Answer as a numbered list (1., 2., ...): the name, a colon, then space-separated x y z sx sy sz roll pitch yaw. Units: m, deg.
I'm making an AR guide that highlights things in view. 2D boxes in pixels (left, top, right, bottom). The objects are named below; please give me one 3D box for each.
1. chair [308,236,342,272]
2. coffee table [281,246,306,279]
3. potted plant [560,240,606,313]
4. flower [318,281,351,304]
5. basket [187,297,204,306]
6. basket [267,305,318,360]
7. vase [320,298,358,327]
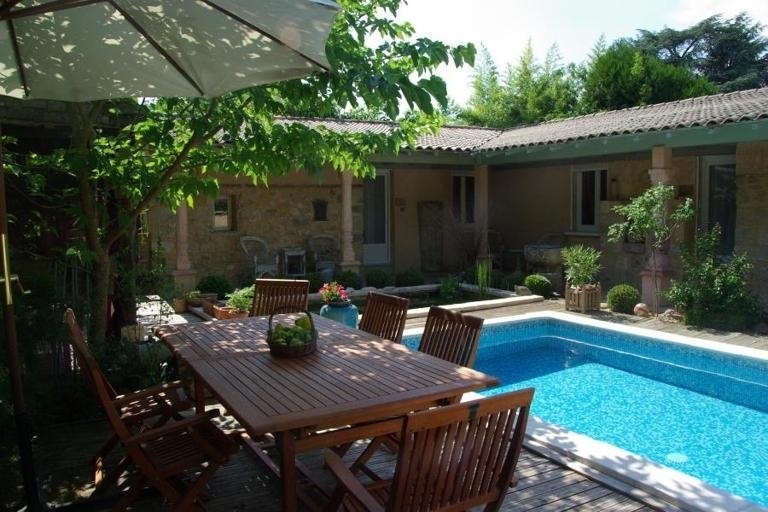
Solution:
1. chair: -1.515 -0.031 13.937 0.937 1.106 0.617 0 -4 -23
2. coffee table: -2.209 0.188 13.441 0.770 0.942 0.311 -3 7 -25
3. potted plant: 3.949 0.445 11.026 0.739 1.193 0.969 3 9 17
4. flower: -0.841 0.621 9.240 0.501 0.352 0.494 -5 12 -41
5. basket: -3.861 0.938 11.322 0.255 0.171 0.247 1 -1 -32
6. basket: -0.791 0.637 4.873 0.431 0.379 0.415 -1 20 7
7. vase: -0.620 0.807 7.872 0.419 0.384 0.404 1 -4 -4
